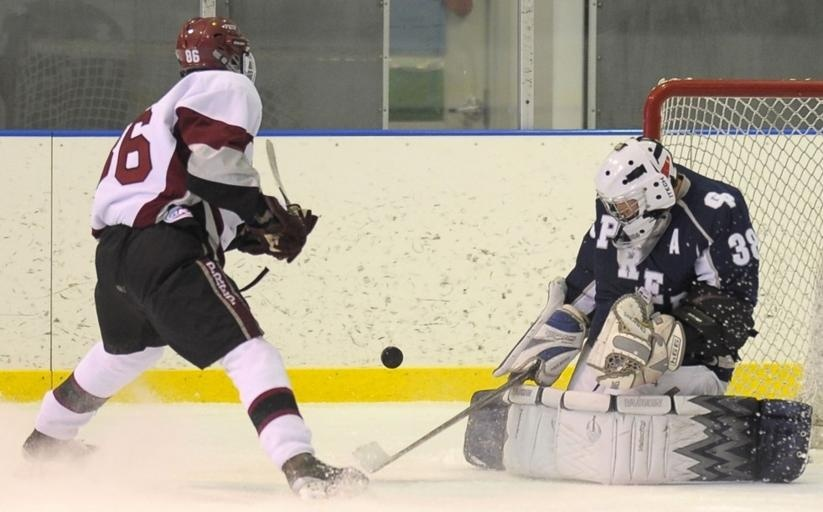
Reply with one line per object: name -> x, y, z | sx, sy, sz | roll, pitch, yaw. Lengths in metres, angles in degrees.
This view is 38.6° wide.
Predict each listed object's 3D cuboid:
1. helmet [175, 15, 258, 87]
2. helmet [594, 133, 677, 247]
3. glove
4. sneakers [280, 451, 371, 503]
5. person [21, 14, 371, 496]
helmet -> -1.018, -1.061, 6.099 | 0.334, 0.328, 0.398 | 5, 10, 19
helmet -> 1.129, -0.315, 5.931 | 0.398, 0.553, 0.170 | 1, 11, 11
glove -> -0.668, -0.121, 5.899 | 0.373, 0.343, 0.166 | 28, -5, 2
sneakers -> -0.390, 1.033, 5.490 | 0.357, 0.137, 0.184 | 2, -14, -19
person -> -1.057, 0.075, 5.798 | 1.622, 1.941, 0.648 | 3, 12, 19
